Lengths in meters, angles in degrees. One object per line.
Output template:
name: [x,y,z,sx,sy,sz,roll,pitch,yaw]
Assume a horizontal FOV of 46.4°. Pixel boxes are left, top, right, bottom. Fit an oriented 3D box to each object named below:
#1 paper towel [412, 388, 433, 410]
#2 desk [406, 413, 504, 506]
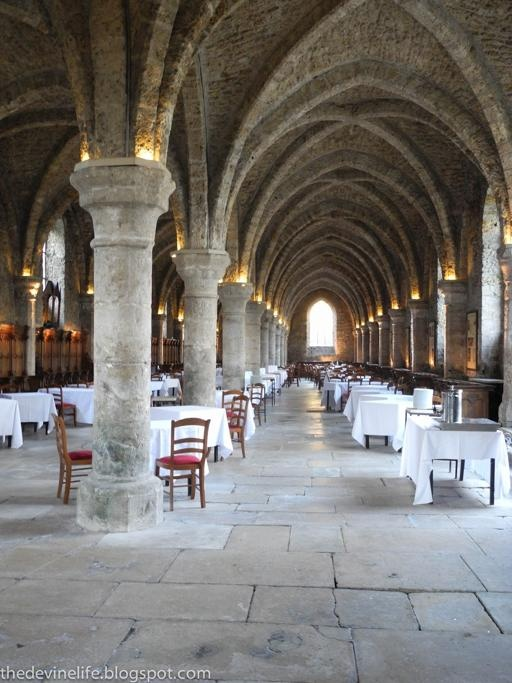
paper towel: [1.831,0.631,6.556,0.202,0.216,0.222,3,2,15]
desk: [1.835,1.124,5.856,0.591,0.521,1.037,0,-9,6]
